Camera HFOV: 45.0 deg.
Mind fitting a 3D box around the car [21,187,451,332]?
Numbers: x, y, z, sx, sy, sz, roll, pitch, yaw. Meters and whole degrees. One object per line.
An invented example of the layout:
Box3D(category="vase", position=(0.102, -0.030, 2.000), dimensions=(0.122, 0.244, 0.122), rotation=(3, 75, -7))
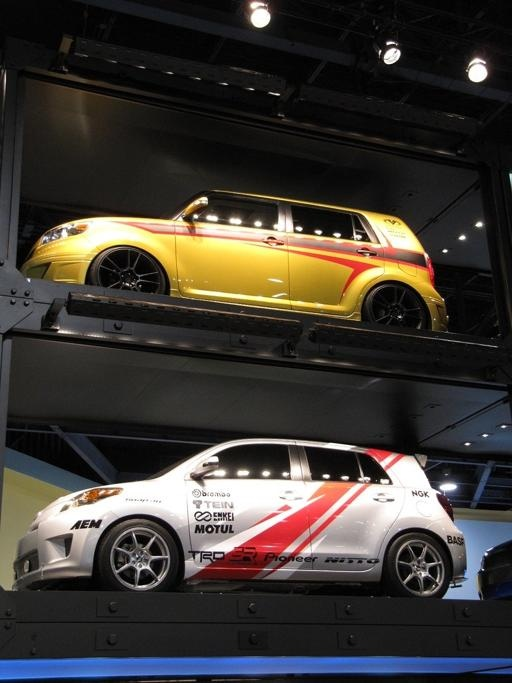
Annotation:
Box3D(category="car", position=(-0.108, -0.895, 5.949), dimensions=(3.901, 1.184, 1.544), rotation=(9, -12, -20))

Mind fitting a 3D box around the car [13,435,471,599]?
Box3D(category="car", position=(-0.004, 1.245, 4.812), dimensions=(3.236, 1.032, 1.362), rotation=(10, -25, -19))

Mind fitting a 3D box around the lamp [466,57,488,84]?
Box3D(category="lamp", position=(1.867, -2.298, 5.216), dimensions=(0.204, 0.197, 0.076), rotation=(6, 1, 10))

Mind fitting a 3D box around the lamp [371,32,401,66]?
Box3D(category="lamp", position=(1.100, -2.452, 5.190), dimensions=(0.190, 0.235, 0.188), rotation=(-16, -25, 29))
